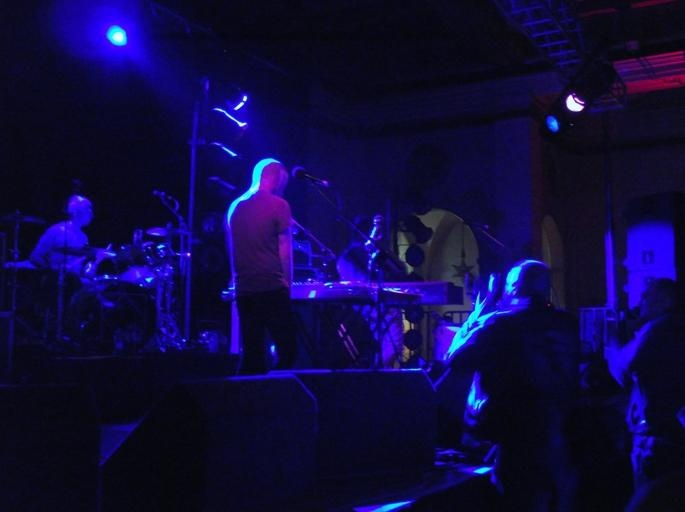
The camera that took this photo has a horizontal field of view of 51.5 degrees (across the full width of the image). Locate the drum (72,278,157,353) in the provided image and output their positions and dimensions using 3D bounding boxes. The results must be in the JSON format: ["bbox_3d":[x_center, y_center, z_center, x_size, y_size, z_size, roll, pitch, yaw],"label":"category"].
[{"bbox_3d":[-2.082,0.586,6.436,0.720,0.601,1.875,4,-10,-16],"label":"drum"}]

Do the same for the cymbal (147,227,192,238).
[{"bbox_3d":[-1.654,-0.225,6.613,0.215,0.059,0.207,-1,-2,8],"label":"cymbal"}]

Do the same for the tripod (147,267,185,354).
[{"bbox_3d":[-1.551,0.471,6.294,0.286,0.783,1.480,3,-10,-14],"label":"tripod"}]

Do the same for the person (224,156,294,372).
[{"bbox_3d":[-0.516,0.026,4.442,0.499,1.395,0.303,0,-9,3],"label":"person"}]
